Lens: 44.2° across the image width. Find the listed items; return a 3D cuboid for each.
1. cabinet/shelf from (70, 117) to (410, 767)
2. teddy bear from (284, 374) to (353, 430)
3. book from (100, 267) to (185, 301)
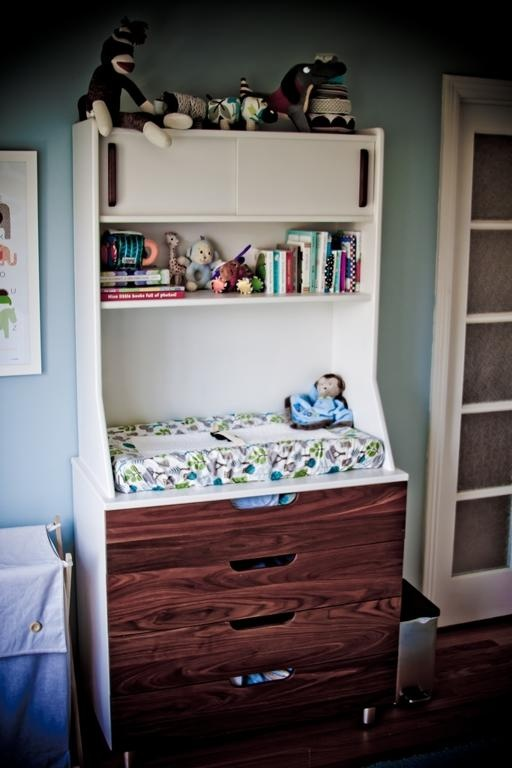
[{"bbox_3d":[-0.059,0.150,1.730,0.865,1.627,0.509,-5,15,-20],"label":"cabinet/shelf"},{"bbox_3d":[0.198,0.049,1.941,0.208,0.118,0.293,1,19,14],"label":"teddy bear"},{"bbox_3d":[-0.261,-0.243,1.542,0.144,0.066,0.273,11,17,34],"label":"book"}]
